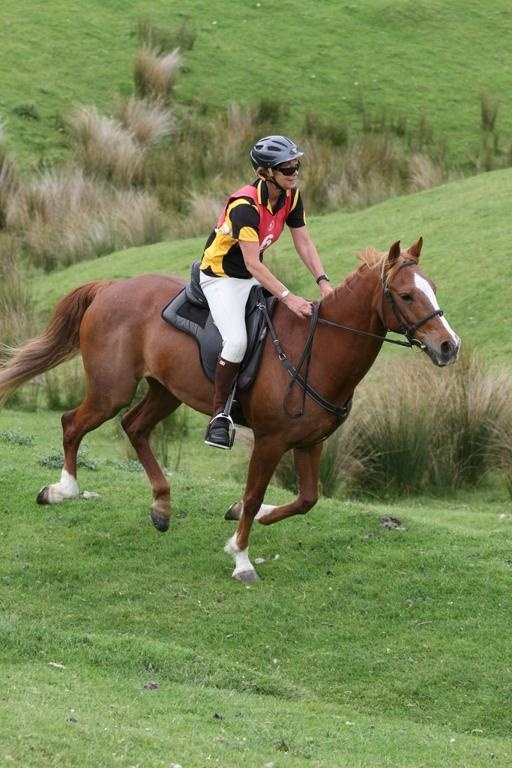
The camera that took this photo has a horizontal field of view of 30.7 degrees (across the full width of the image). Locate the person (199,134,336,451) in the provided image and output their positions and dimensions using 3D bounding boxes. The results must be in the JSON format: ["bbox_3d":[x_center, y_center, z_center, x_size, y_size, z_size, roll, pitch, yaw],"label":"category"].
[{"bbox_3d":[0.029,-0.442,4.912,0.704,1.713,0.653,7,9,-4],"label":"person"}]

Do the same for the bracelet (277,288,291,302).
[{"bbox_3d":[0.135,-0.433,4.649,0.057,0.073,0.021,-36,55,-15],"label":"bracelet"}]

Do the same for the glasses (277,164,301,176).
[{"bbox_3d":[0.148,-1.058,4.593,0.082,0.027,0.087,-18,30,-34],"label":"glasses"}]

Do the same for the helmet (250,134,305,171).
[{"bbox_3d":[0.076,-1.153,4.634,0.259,0.112,0.171,-1,26,27],"label":"helmet"}]
